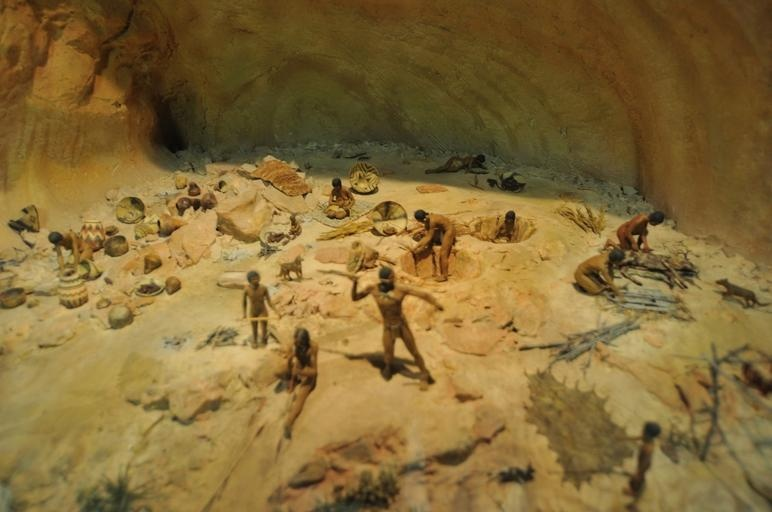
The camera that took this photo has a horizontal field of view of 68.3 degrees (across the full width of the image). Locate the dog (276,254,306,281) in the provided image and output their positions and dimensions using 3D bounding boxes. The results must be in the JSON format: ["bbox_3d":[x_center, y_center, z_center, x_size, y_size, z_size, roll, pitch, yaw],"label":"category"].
[{"bbox_3d":[-2.350,0.371,13.928,0.607,0.525,0.476,-3,64,-1],"label":"dog"}]

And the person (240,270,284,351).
[{"bbox_3d":[-2.853,1.271,12.864,0.830,1.967,0.610,-4,30,-10],"label":"person"}]

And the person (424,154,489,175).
[{"bbox_3d":[2.348,-2.965,18.662,1.918,0.648,0.823,-5,23,2],"label":"person"}]

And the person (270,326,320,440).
[{"bbox_3d":[-1.767,2.428,11.753,0.776,1.157,2.148,18,54,0],"label":"person"}]

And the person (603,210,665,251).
[{"bbox_3d":[6.293,-0.625,14.550,1.186,1.316,0.550,15,27,21],"label":"person"}]

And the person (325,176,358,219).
[{"bbox_3d":[-1.299,-1.660,16.117,0.706,1.063,0.738,6,21,22],"label":"person"}]
